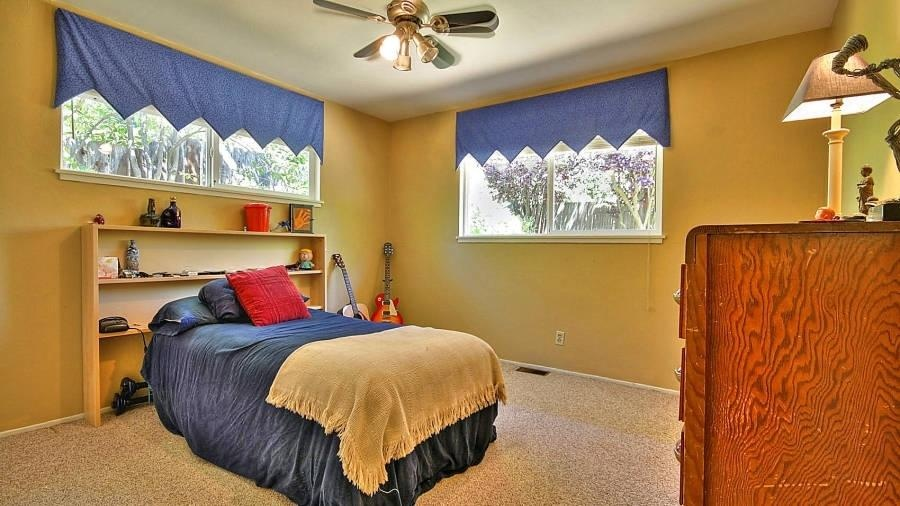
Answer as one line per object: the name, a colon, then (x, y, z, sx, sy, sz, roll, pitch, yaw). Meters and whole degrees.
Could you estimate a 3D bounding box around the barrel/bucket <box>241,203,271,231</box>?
barrel/bucket: (-2.100, -0.385, 6.254, 0.310, 0.291, 0.303, -1, -1, 0)

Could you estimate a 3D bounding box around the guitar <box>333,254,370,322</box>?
guitar: (-1.236, 0.400, 7.036, 0.133, 0.916, 0.375, -16, 2, 38)

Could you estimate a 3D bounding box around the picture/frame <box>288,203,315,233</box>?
picture/frame: (-1.746, -0.410, 6.664, 0.071, 0.393, 0.391, -3, -4, 43)

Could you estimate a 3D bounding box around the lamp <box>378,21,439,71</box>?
lamp: (-0.389, -1.917, 5.343, 0.505, 0.445, 0.196, -1, 18, -13)

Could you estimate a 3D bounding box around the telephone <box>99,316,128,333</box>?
telephone: (-3.196, 0.671, 5.472, 0.235, 0.133, 0.128, -5, 8, -42)

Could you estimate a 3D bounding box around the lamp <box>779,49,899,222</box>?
lamp: (2.888, -0.827, 4.283, 0.601, 1.099, 1.251, -1, 3, 36)
